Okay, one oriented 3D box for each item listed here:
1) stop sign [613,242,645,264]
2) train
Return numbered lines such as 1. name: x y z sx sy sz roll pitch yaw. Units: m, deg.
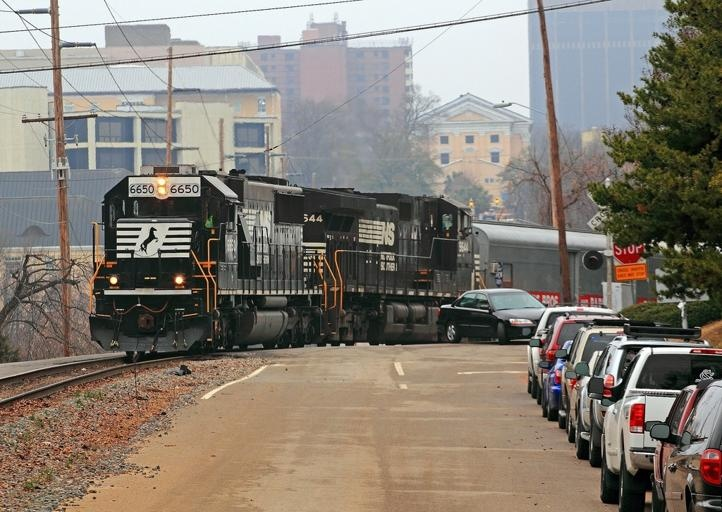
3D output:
1. stop sign: 7.074 -0.091 26.842 0.535 0.555 0.076 -3 0 40
2. train: -1.845 0.429 37.294 4.314 5.789 20.811 -4 -4 23
